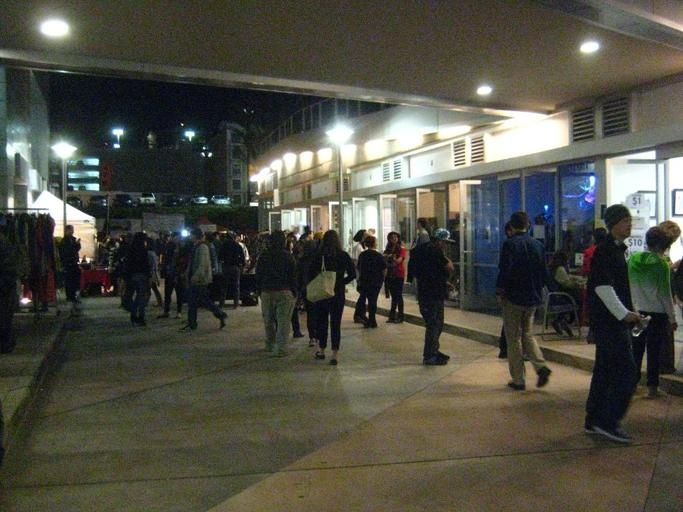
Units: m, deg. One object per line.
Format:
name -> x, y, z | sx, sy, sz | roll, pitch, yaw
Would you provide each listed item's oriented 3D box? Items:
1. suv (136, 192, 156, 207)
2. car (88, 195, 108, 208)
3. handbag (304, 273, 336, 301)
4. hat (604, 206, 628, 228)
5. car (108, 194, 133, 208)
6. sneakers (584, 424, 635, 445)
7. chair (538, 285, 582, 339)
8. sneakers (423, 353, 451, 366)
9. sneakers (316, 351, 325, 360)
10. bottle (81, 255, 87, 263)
suv -> -19.465, -5.338, 59.442 | 1.652, 1.462, 2.833 | -2, 13, -23
car -> -20.873, -4.654, 50.824 | 1.368, 1.086, 3.697 | -3, 5, -23
handbag -> -0.328, 0.502, 9.701 | 0.416, 0.517, 0.176 | -2, -10, 45
hat -> 3.114, -0.479, 6.820 | 0.247, 0.217, 0.232 | -16, 5, 27
car -> -20.177, -5.153, 54.706 | 1.777, 1.195, 1.752 | -3, 5, -26
sneakers -> 2.872, 1.888, 6.453 | 0.432, 0.185, 0.168 | 3, -5, 31
chair -> 4.043, 0.758, 11.102 | 0.657, 1.142, 0.641 | 0, 20, 20
sneakers -> 1.590, 1.682, 9.803 | 0.473, 0.188, 0.241 | -2, 5, -16
sneakers -> -0.370, 1.689, 10.279 | 0.172, 0.152, 0.257 | -1, 5, -1
bottle -> -10.406, 0.113, 24.090 | 0.221, 0.256, 0.231 | 7, 12, 31
